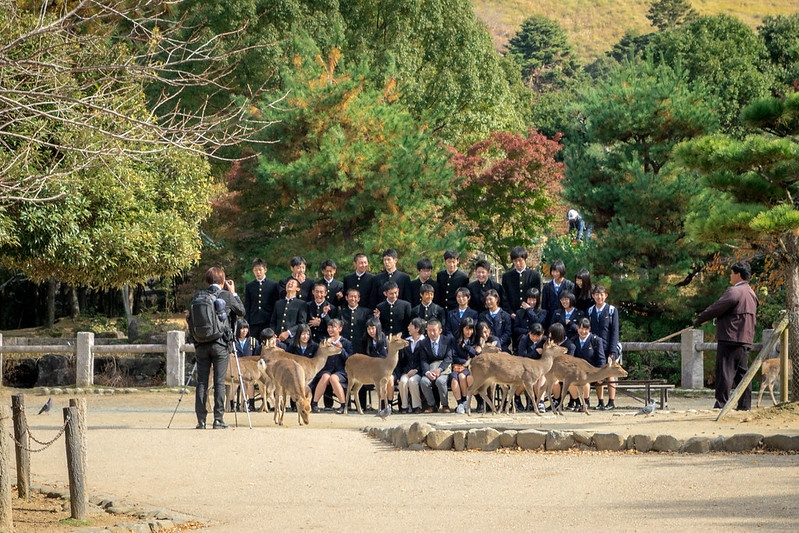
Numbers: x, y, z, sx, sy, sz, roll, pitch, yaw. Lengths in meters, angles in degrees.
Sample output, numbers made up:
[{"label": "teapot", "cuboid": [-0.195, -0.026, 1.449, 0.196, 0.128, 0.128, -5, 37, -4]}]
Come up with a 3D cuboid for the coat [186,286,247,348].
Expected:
[{"label": "coat", "cuboid": [-4.203, 1.213, 40.721, 1.236, 1.376, 1.315, -1, -15, 2]}]

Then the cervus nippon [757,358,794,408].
[{"label": "cervus nippon", "cuboid": [8.783, 2.729, 42.721, 0.766, 1.162, 4.197, -1, -4, 11]}]

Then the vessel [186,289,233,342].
[{"label": "vessel", "cuboid": [-4.308, 1.101, 40.041, 0.829, 1.163, 1.102, 0, -17, 0]}]

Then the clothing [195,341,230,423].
[{"label": "clothing", "cuboid": [-4.224, 2.654, 40.420, 0.735, 1.893, 0.512, 1, -3, -8]}]
